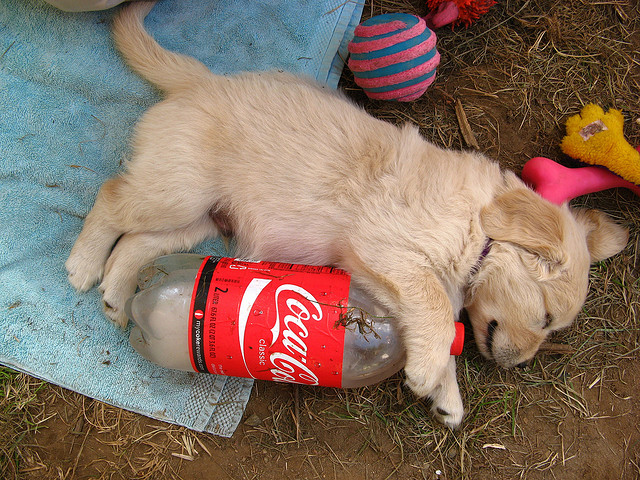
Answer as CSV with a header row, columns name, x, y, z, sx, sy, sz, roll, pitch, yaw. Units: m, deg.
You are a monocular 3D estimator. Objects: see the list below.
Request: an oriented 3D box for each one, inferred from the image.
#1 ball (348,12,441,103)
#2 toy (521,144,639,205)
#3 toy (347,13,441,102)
name,x,y,z,sx,sy,sz,roll,pitch,yaw
ball,0.354,-0.899,2.919,0.404,0.350,0.430,-1,45,2
toy,1.330,-0.301,2.928,0.536,0.173,0.314,7,70,-7
toy,0.376,-0.920,2.920,0.400,0.384,0.415,-17,35,-17
